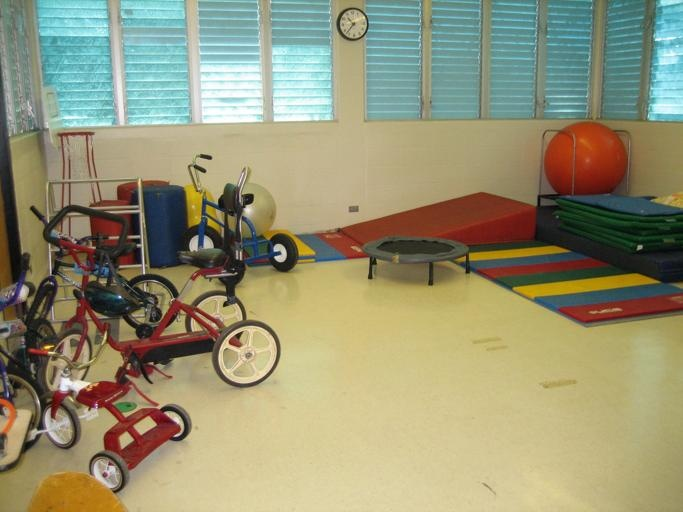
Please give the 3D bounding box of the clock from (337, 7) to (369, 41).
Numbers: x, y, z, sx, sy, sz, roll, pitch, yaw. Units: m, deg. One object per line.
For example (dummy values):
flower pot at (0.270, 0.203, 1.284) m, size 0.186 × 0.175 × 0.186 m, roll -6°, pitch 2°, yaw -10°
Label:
clock at (0.123, -3.188, 7.420) m, size 0.455 × 0.442 × 0.120 m, roll -5°, pitch 8°, yaw -18°
